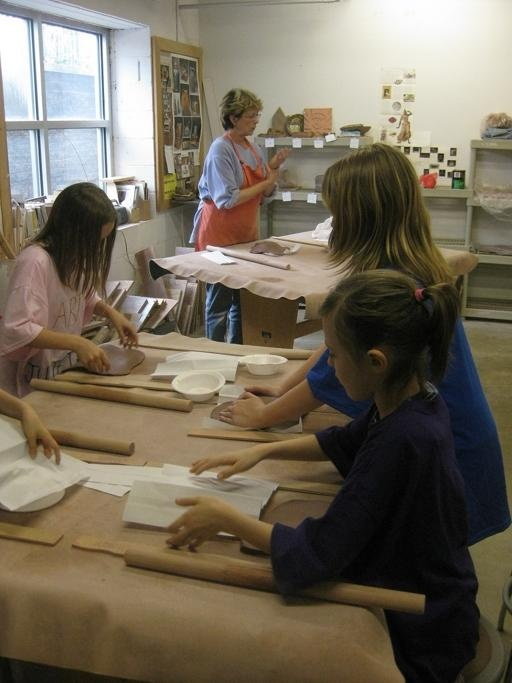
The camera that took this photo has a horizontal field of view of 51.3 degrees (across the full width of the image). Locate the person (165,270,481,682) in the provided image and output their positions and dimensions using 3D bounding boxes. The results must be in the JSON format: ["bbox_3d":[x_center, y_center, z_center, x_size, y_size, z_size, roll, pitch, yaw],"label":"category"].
[{"bbox_3d":[0.166,0.110,1.335,0.660,1.119,0.591,5,10,17],"label":"person"}]

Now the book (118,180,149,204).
[{"bbox_3d":[-1.111,-1.359,4.910,0.219,0.213,0.053,-3,2,2],"label":"book"}]

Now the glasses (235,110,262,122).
[{"bbox_3d":[-0.029,-1.540,3.618,0.176,0.076,0.083,-13,19,-39],"label":"glasses"}]

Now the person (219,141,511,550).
[{"bbox_3d":[0.336,-0.130,1.960,1.030,1.687,0.676,5,7,21],"label":"person"}]
